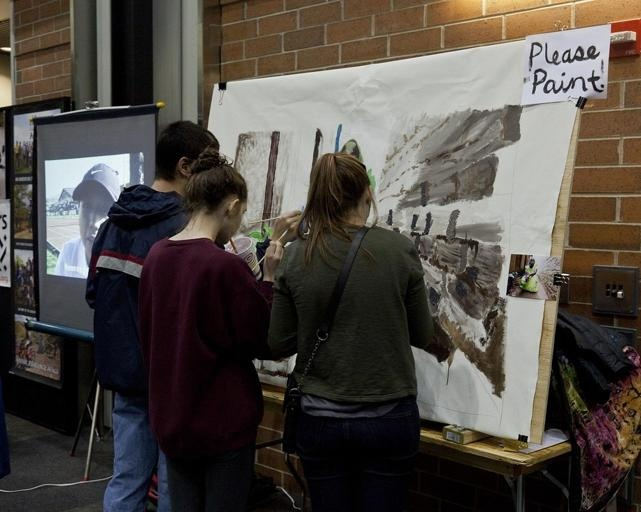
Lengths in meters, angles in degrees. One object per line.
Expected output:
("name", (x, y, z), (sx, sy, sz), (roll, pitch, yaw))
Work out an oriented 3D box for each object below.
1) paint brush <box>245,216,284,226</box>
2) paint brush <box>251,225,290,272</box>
("paint brush", (-0.264, -0.167, 2.768), (0.350, 0.018, 0.036), (-7, -12, 42))
("paint brush", (-0.221, -0.037, 2.493), (0.154, 0.191, 0.114), (11, 14, 37))
